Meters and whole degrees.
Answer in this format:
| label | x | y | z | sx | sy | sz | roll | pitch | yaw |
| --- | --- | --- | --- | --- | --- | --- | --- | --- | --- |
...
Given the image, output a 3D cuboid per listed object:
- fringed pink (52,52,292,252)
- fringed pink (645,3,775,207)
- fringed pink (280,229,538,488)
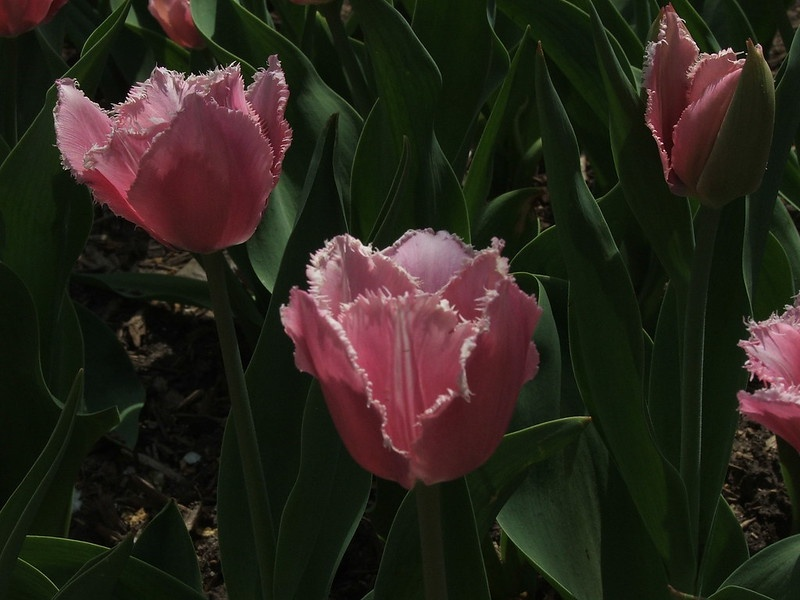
| label | x | y | z | sx | sy | sz | roll | pitch | yaw |
| --- | --- | --- | --- | --- | --- | --- | --- | --- | --- |
| fringed pink | -0.178 | -0.115 | 0.726 | 0.172 | 0.158 | 0.175 | -20 | 30 | -35 |
| fringed pink | 0.275 | -0.174 | 0.761 | 0.112 | 0.181 | 0.070 | 5 | 7 | 28 |
| fringed pink | 0.013 | 0.038 | 0.633 | 0.168 | 0.213 | 0.183 | 4 | 35 | 16 |
